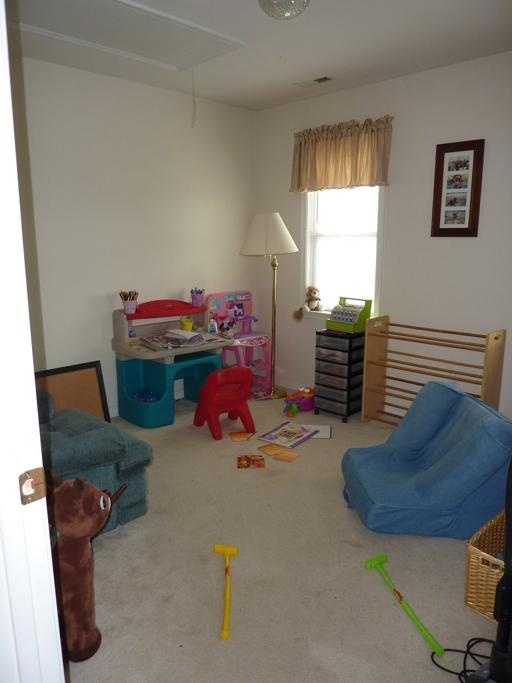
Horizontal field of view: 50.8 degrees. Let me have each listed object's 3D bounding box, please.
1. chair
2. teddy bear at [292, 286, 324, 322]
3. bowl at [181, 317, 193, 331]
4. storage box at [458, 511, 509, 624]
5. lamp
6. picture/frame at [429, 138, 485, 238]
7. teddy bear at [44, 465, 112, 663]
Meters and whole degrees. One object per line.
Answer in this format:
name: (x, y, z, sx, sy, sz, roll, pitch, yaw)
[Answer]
chair: (-0.226, 0.390, 3.811, 0.376, 0.506, 0.406, -6, 13, -25)
teddy bear: (0.456, -0.343, 4.701, 0.313, 0.407, 0.242, -3, 6, -18)
bowl: (-0.556, -0.138, 4.288, 0.091, 0.106, 0.104, -2, 7, -35)
storage box: (0.783, 0.740, 1.837, 0.244, 0.141, 0.362, 0, 2, 27)
lamp: (0.119, -0.310, 4.567, 0.447, 1.555, 0.713, 1, 12, 4)
picture/frame: (1.313, -0.991, 3.520, 0.039, 0.595, 0.327, -10, 15, -39)
teddy bear: (-0.559, 0.727, 1.703, 0.103, 0.691, 0.228, 7, 14, 31)
